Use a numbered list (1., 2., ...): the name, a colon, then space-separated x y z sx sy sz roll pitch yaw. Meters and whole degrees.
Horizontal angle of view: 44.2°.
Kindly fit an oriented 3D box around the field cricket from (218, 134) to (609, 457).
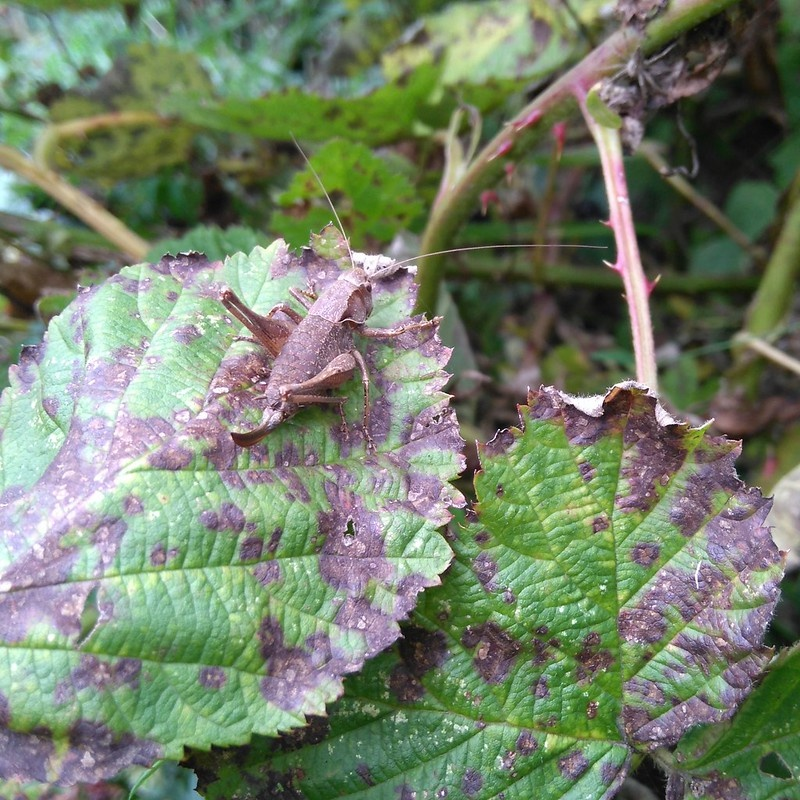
1. field cricket: -0.108 -0.137 1.566 0.366 0.146 0.354 20 62 13
